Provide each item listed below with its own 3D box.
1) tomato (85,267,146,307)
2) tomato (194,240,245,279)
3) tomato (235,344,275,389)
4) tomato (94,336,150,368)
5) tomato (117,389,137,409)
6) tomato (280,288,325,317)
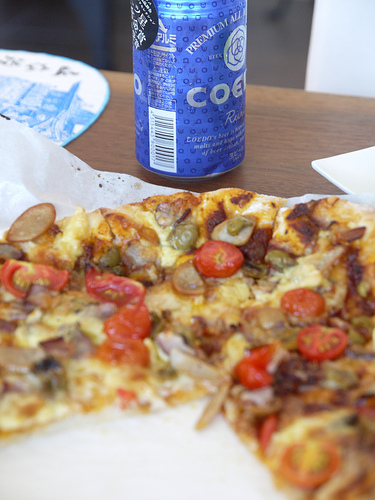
[{"bbox_3d":[-0.101,0.053,0.677,0.073,0.036,0.112,-6,15,-33],"label":"tomato"},{"bbox_3d":[0.043,0.013,0.681,0.056,0.026,0.053,-39,71,-13],"label":"tomato"},{"bbox_3d":[0.084,0.146,0.614,0.049,0.032,0.053,2,34,5],"label":"tomato"},{"bbox_3d":[-0.084,0.130,0.621,0.070,0.040,0.024,-2,36,0],"label":"tomato"},{"bbox_3d":[-0.073,0.181,0.604,0.021,0.010,0.024,-11,35,-14],"label":"tomato"},{"bbox_3d":[0.153,0.069,0.657,0.047,0.016,0.035,18,54,41],"label":"tomato"}]
